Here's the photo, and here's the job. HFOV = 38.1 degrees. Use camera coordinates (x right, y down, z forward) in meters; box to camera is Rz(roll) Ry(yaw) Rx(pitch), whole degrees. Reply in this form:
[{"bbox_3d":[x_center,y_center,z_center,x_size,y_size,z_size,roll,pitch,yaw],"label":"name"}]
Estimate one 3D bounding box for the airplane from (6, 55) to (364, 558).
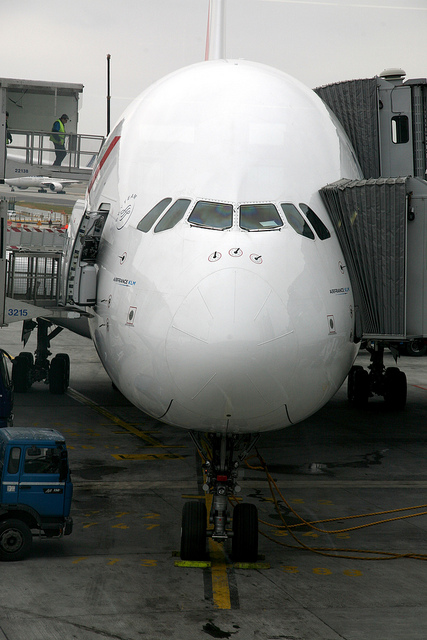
[{"bbox_3d":[-0.384,-0.935,9.696,5.224,3.609,8.085,2,14,0],"label":"airplane"}]
